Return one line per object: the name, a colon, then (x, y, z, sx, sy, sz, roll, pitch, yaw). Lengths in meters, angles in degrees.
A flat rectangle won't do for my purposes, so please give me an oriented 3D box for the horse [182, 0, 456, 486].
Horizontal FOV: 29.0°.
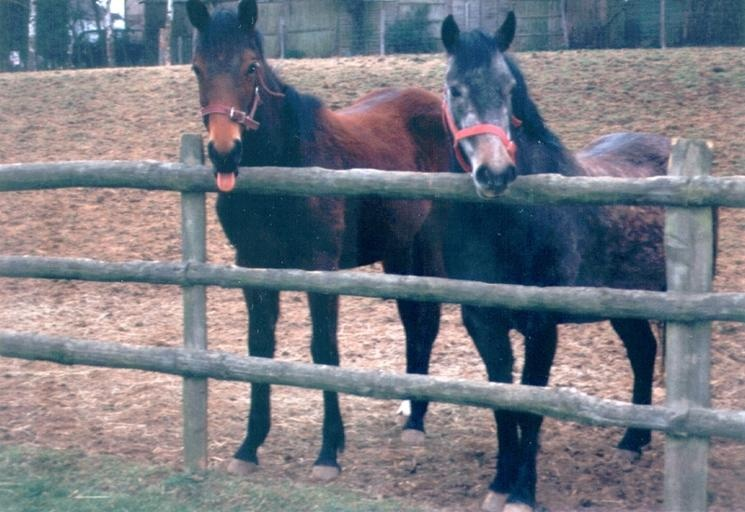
horse: (-0.611, -0.355, 18.727, 3.275, 5.935, 1.539, -9, 14, -29)
